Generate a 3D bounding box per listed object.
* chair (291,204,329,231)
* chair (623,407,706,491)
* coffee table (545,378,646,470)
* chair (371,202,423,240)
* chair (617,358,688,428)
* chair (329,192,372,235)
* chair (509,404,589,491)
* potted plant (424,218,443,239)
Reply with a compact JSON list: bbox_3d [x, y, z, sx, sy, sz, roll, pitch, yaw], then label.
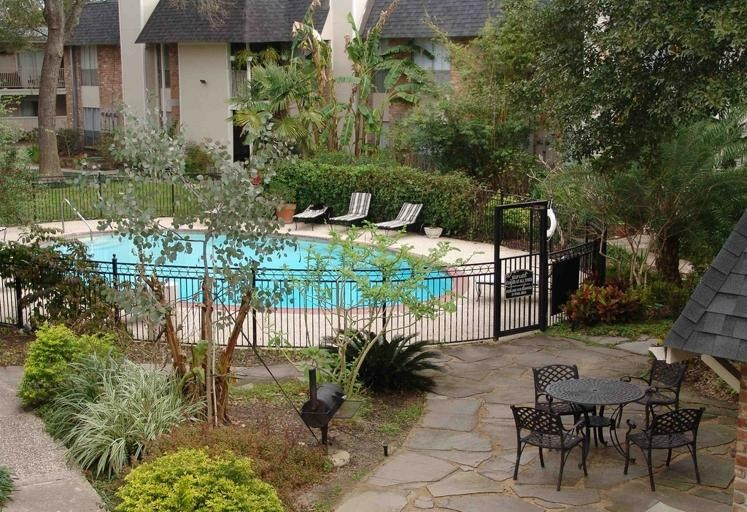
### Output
[{"bbox_3d":[-2.637,-1.653,28.775,1.519,0.910,1.286,3,8,11],"label":"chair"},{"bbox_3d":[4.551,2.914,11.163,1.181,1.360,1.173,2,9,33],"label":"chair"},{"bbox_3d":[3.600,2.830,11.651,1.339,0.929,1.342,-1,4,-2],"label":"coffee table"},{"bbox_3d":[0.963,-1.415,26.451,1.407,1.220,1.730,4,8,20],"label":"chair"},{"bbox_3d":[4.918,2.458,12.505,0.839,1.212,0.878,2,5,-11],"label":"chair"},{"bbox_3d":[-1.138,-1.848,27.803,1.789,1.446,1.836,4,9,21],"label":"chair"},{"bbox_3d":[2.796,2.942,11.259,1.013,1.282,1.067,-1,7,27],"label":"chair"},{"bbox_3d":[2.248,-1.076,26.507,0.676,0.514,0.689,-1,3,-21],"label":"potted plant"}]
